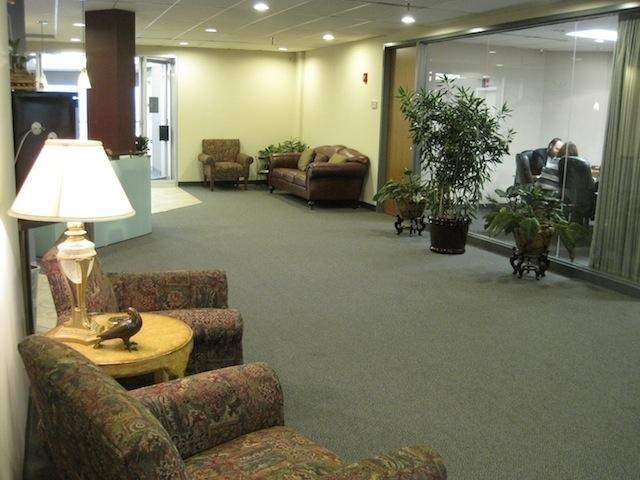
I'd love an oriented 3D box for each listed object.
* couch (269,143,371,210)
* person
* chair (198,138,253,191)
[{"bbox_3d":[-0.120,-1.489,10.222,1.263,1.184,2.610,-5,16,-24],"label":"couch"},{"bbox_3d":[3.005,-0.753,5.777,0.843,1.004,0.718,-1,17,-22],"label":"person"},{"bbox_3d":[-2.362,-1.899,11.596,1.247,1.143,1.201,-2,15,-16],"label":"chair"}]
